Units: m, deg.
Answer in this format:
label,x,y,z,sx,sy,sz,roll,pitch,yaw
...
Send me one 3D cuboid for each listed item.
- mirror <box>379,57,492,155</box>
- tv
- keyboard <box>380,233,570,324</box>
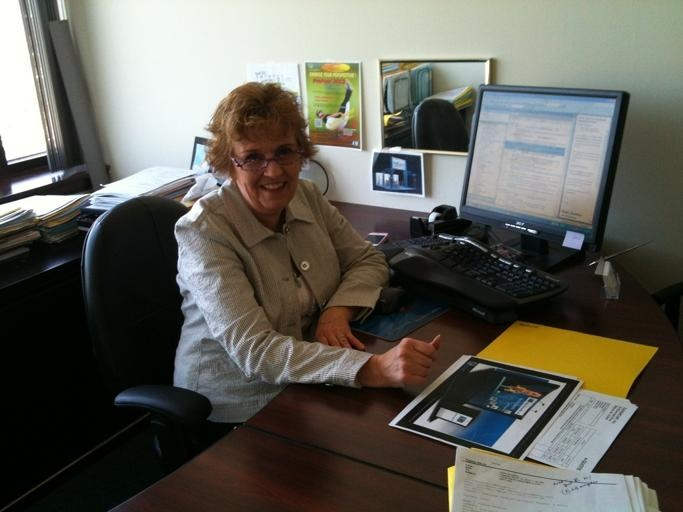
label,x,y,z,sx,sy,sz,roll,pitch,yaw
mirror,0.380,-0.596,1.920,0.461,0.340,0.017,13,29,34
tv,0.653,-0.249,1.575,0.282,0.528,0.495,-24,35,-37
keyboard,0.374,0.050,1.462,0.402,0.097,0.237,21,39,40
